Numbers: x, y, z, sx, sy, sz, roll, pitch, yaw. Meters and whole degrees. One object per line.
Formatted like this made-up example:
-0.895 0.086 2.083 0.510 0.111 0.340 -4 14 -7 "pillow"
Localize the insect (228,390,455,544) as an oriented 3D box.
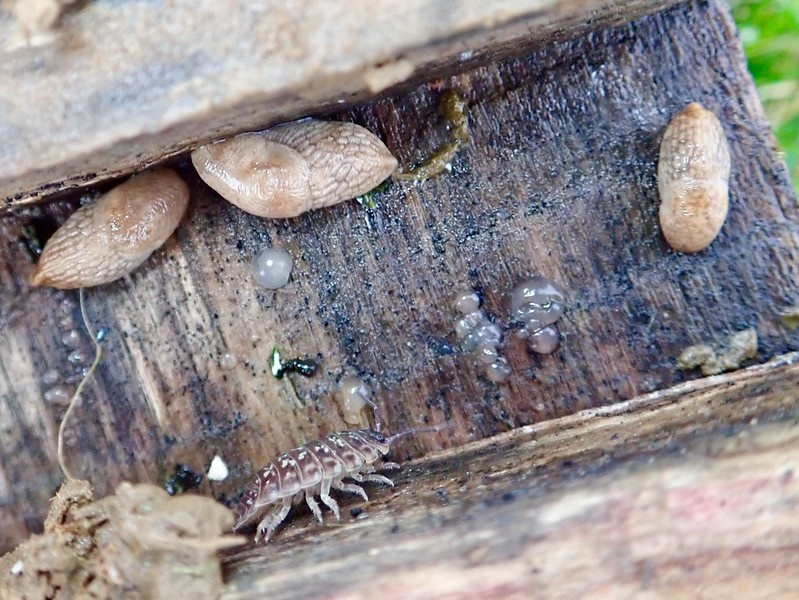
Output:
-0.302 0.631 3.531 0.608 0.149 0.332 -23 35 -24 "insect"
